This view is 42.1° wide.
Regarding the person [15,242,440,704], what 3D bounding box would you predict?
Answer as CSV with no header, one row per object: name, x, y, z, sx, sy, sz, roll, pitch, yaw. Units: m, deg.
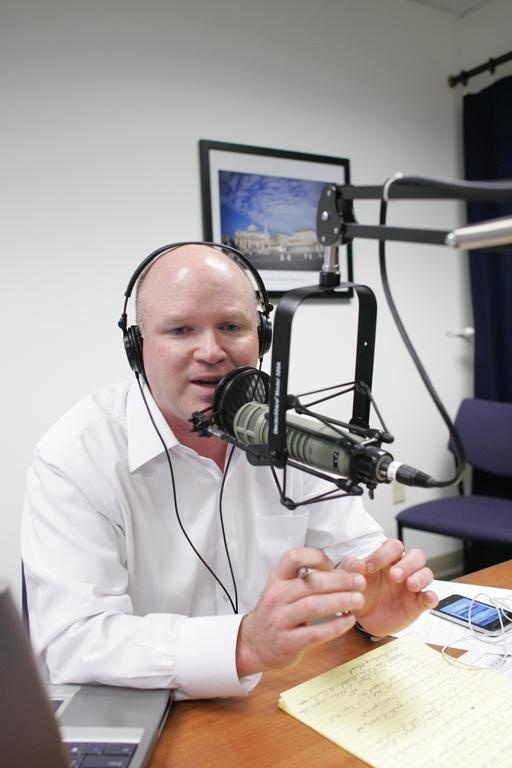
person,-0.090,0.147,1.278,0.635,0.716,0.813,-7,-1,-38

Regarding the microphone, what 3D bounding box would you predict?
microphone,0.073,0.071,0.728,0.068,0.072,0.268,-19,22,-37
